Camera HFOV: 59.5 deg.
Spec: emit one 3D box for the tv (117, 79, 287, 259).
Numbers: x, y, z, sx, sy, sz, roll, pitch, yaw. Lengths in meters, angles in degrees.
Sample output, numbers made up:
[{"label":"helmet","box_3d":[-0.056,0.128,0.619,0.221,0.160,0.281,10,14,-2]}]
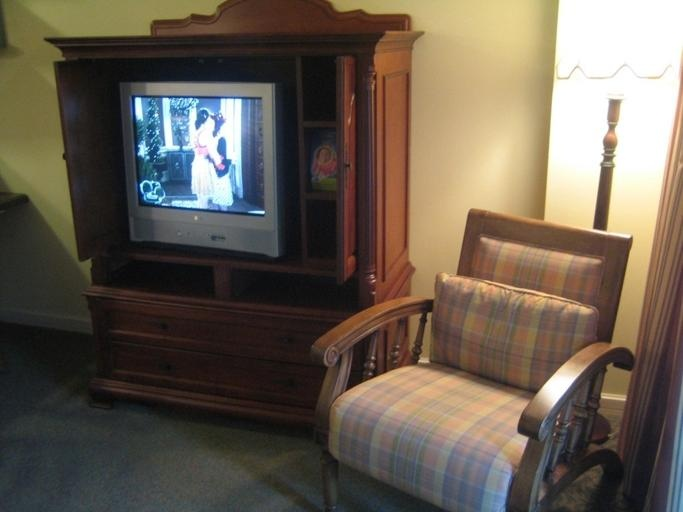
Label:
[{"label":"tv","box_3d":[-0.647,-0.432,2.895,0.771,0.742,0.281,7,27,16]}]
